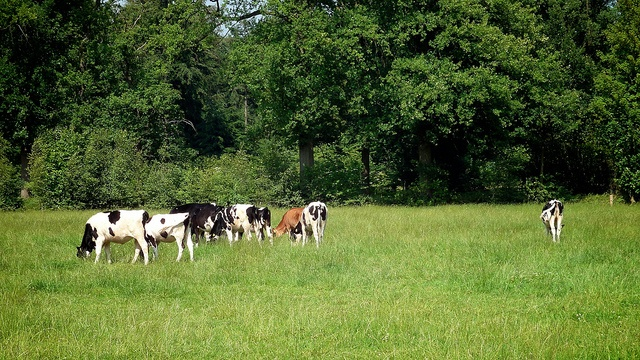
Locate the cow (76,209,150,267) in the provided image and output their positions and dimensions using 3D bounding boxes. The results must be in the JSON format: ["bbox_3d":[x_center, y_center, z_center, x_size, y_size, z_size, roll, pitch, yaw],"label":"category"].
[{"bbox_3d":[-12.583,3.208,49.888,3.262,3.704,3.252,-2,-3,-34],"label":"cow"}]

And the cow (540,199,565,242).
[{"bbox_3d":[14.597,2.554,51.871,1.270,2.716,2.904,-4,-7,15],"label":"cow"}]

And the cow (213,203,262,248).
[{"bbox_3d":[-6.073,2.523,52.631,5.058,3.236,1.404,0,-1,5],"label":"cow"}]

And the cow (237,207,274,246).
[{"bbox_3d":[-5.479,3.052,53.075,3.665,2.510,1.166,-8,-3,17],"label":"cow"}]

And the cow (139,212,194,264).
[{"bbox_3d":[-9.415,3.491,49.982,4.004,2.804,0.981,-3,-13,23],"label":"cow"}]
